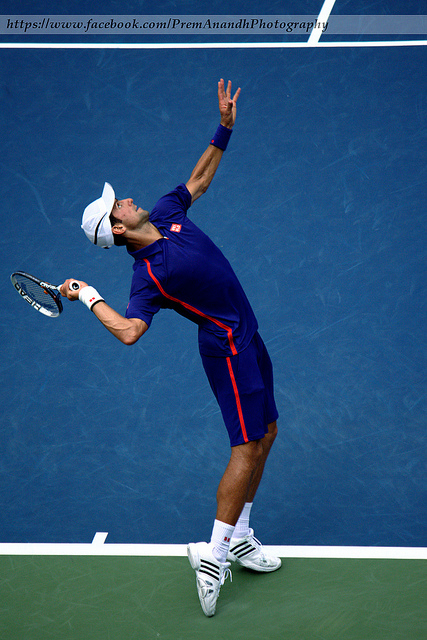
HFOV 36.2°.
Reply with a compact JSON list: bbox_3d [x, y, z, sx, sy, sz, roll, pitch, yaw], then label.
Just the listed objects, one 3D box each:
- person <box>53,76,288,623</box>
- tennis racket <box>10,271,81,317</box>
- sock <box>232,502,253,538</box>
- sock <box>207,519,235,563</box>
[{"bbox_3d":[0.021,0.028,3.877,0.954,2.854,1.592,5,14,30],"label":"person"},{"bbox_3d":[-0.972,-0.174,3.805,0.561,0.113,0.318,4,-36,25],"label":"tennis racket"},{"bbox_3d":[0.179,1.136,3.763,0.075,0.193,0.157,7,15,37],"label":"sock"},{"bbox_3d":[0.035,1.161,3.453,0.089,0.234,0.150,9,16,44],"label":"sock"}]
